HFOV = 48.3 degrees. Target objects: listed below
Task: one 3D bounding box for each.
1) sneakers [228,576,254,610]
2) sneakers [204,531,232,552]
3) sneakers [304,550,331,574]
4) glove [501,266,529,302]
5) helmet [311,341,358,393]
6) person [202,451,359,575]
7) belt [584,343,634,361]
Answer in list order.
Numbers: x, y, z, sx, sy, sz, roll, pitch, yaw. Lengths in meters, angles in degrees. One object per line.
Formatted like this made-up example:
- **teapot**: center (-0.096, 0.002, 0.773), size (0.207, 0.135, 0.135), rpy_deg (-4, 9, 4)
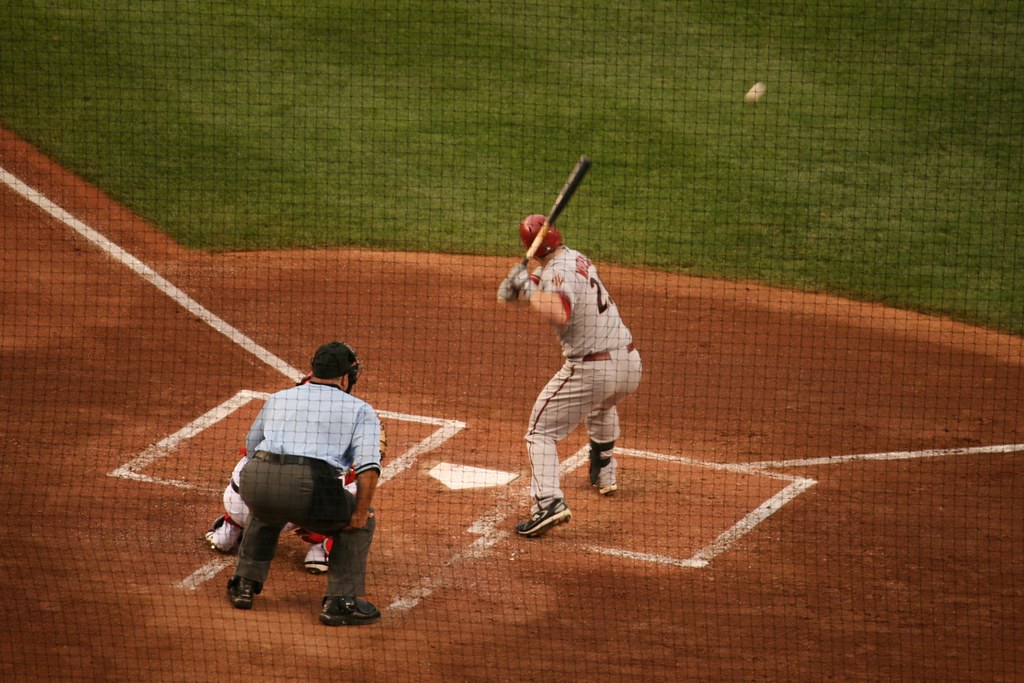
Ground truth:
- **sneakers**: center (-2.129, 1.966, 9.015), size (0.151, 0.119, 0.295), rpy_deg (9, 16, -26)
- **sneakers**: center (-2.455, 1.660, 9.624), size (0.233, 0.163, 0.091), rpy_deg (21, 3, 12)
- **sneakers**: center (-1.610, 1.796, 9.420), size (0.147, 0.136, 0.291), rpy_deg (1, 6, 0)
- **glove**: center (0.025, -0.515, 9.921), size (0.123, 0.316, 0.227), rpy_deg (42, -5, 5)
- **helmet**: center (-1.475, 0.160, 9.120), size (0.337, 0.395, 0.413), rpy_deg (12, 23, 28)
- **person**: center (-1.953, 1.302, 9.688), size (1.063, 0.973, 1.134), rpy_deg (8, 8, 9)
- **belt**: center (0.810, 0.100, 10.022), size (0.265, 0.061, 0.243), rpy_deg (-6, 6, 32)
